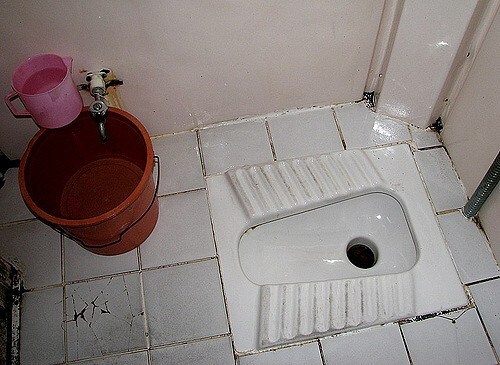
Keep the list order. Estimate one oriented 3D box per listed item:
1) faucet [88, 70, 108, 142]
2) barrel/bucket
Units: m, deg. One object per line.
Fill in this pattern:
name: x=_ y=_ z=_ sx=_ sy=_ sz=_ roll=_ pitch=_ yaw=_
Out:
faucet: x=-0.515 y=-0.261 z=1.379 sx=0.067 sy=0.083 sz=0.227 roll=-4 pitch=80 yaw=-10
barrel/bucket: x=-0.565 y=0.000 z=1.581 sx=0.513 sy=0.416 sz=0.556 roll=3 pitch=75 yaw=-10
